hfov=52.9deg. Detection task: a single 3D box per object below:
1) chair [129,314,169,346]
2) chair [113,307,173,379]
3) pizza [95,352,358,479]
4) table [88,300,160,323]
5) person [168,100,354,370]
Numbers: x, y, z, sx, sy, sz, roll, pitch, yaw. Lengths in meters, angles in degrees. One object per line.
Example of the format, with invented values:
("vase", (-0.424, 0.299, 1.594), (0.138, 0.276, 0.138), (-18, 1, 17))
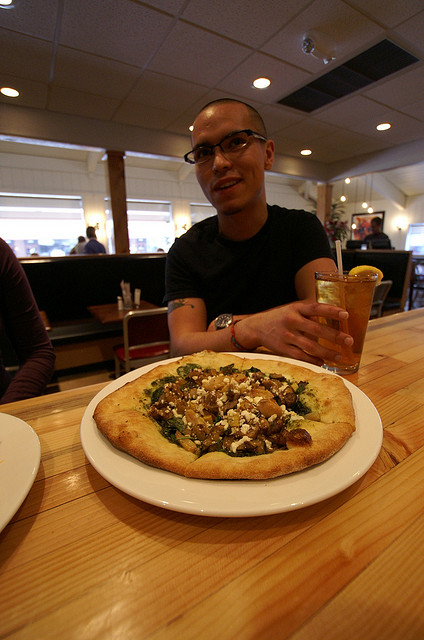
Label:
("chair", (-0.398, 0.052, 2.595), (0.125, 0.225, 0.137), (-6, 53, -13))
("chair", (-0.457, 0.170, 2.788), (0.361, 0.653, 0.321), (-7, 31, -19))
("pizza", (0.014, 0.138, 0.613), (0.183, 0.027, 0.198), (6, 14, 25))
("table", (-0.727, -0.067, 3.323), (0.301, 0.067, 0.293), (-10, 21, -27))
("person", (0.141, -0.324, 1.550), (0.646, 0.884, 0.540), (-8, 1, 40))
